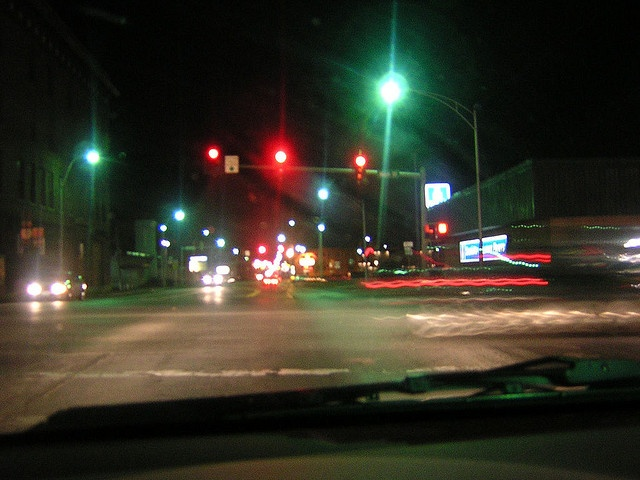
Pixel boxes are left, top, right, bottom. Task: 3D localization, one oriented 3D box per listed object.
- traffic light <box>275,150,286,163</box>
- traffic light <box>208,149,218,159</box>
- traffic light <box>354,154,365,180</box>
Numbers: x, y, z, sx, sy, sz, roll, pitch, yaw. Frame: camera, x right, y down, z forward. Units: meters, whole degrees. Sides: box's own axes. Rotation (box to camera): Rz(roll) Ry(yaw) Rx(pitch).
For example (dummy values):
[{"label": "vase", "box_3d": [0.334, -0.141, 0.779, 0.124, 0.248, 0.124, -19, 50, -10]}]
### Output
[{"label": "traffic light", "box_3d": [-1.361, -2.883, 20.434, 0.367, 0.418, 0.538, -2, -6, 5]}, {"label": "traffic light", "box_3d": [-3.549, -2.854, 19.499, 0.369, 0.408, 0.179, -2, -5, 7]}, {"label": "traffic light", "box_3d": [1.443, -2.640, 20.986, 0.387, 0.928, 0.502, -1, -5, 4]}]
